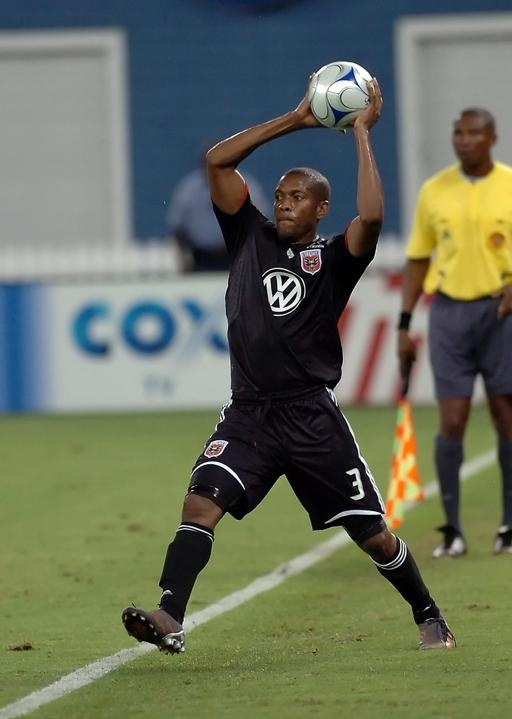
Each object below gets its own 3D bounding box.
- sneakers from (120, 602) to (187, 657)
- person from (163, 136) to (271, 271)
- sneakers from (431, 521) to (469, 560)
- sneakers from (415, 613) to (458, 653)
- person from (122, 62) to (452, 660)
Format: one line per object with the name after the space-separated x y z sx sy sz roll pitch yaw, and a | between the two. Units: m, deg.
-0.301 0.769 3.046 0.117 0.179 0.189 -1 5 36 | sneakers
-0.327 -1.486 10.463 1.239 1.063 0.705 12 36 39 | person
0.904 0.893 5.234 0.094 0.159 0.268 -10 -3 29 | sneakers
0.591 0.920 3.548 0.063 0.064 0.162 -6 2 19 | sneakers
0.047 0.014 3.522 1.132 1.938 0.598 -7 4 -29 | person
